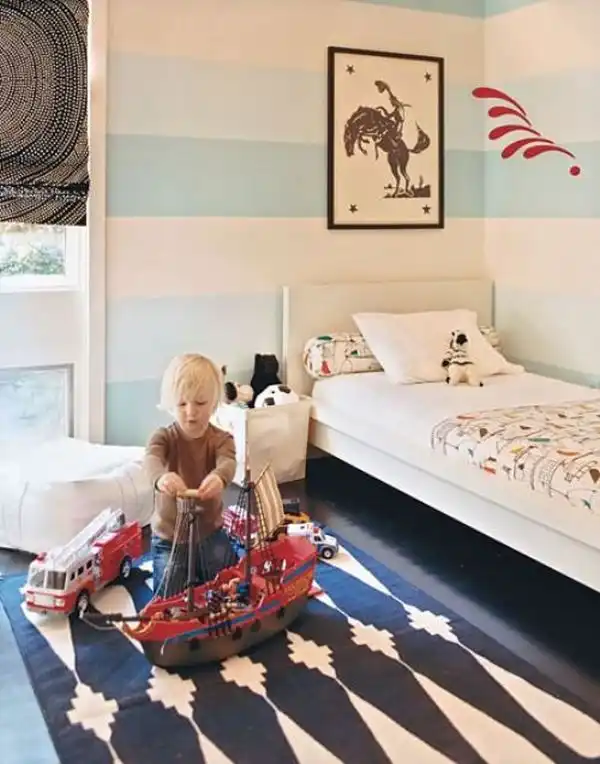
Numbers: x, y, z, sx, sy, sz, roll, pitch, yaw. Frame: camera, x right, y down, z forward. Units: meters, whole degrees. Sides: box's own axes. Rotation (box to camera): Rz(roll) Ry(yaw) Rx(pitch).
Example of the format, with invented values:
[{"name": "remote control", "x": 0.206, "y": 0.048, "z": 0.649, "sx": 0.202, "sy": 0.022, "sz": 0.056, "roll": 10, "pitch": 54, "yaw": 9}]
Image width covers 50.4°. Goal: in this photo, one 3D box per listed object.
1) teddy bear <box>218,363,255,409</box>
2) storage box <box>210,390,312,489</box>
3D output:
[{"name": "teddy bear", "x": -0.281, "y": 0.026, "z": 2.854, "sx": 0.200, "sy": 0.181, "sz": 0.157, "roll": 1, "pitch": 12, "yaw": -7}, {"name": "storage box", "x": -0.149, "y": 0.233, "z": 2.765, "sx": 0.293, "sy": 0.161, "sz": 0.294, "roll": 19, "pitch": 16, "yaw": 36}]
